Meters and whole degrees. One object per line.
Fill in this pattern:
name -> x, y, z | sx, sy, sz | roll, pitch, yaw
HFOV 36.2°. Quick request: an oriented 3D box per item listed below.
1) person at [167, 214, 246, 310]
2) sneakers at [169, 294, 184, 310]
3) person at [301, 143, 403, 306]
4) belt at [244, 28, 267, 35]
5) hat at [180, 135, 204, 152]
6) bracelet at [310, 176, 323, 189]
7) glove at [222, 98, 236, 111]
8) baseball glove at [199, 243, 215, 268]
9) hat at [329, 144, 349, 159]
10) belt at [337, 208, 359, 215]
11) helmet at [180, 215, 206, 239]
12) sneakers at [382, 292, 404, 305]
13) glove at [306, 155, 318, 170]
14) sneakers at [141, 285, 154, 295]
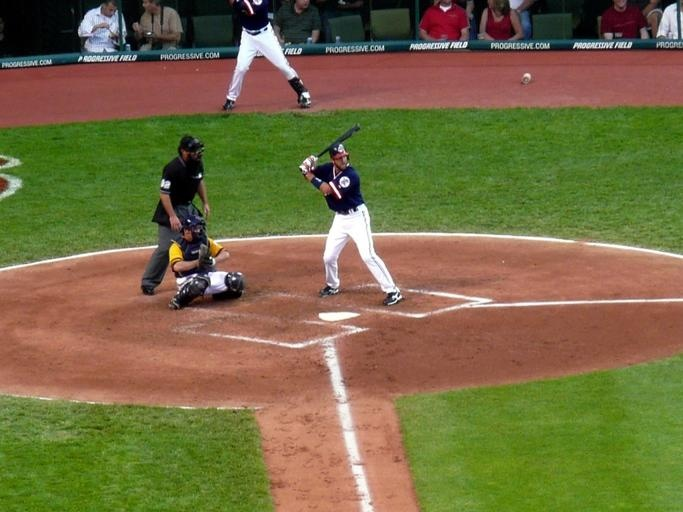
person -> -2.154, 0.058, 15.719 | 1.452, 1.300, 0.911 | -9, 6, -43
sneakers -> -2.411, 0.666, 15.494 | 0.188, 0.090, 0.243 | -37, 10, -19
person -> 0.134, -0.489, 15.505 | 1.424, 2.339, 0.487 | 5, 17, 23
belt -> -1.733, -4.612, 21.502 | 0.442, 0.153, 0.141 | -3, 16, -5
hat -> -2.232, -1.658, 15.713 | 0.298, 0.248, 0.224 | 0, 40, 8
bracelet -> -0.324, -1.060, 15.391 | 0.181, 0.044, 0.185 | -1, 47, -53
glove -> -2.501, -3.368, 23.488 | 0.172, 0.214, 0.473 | 13, 5, -5
baseball glove -> -2.019, -0.009, 15.740 | 0.182, 0.410, 0.447 | -2, 16, 1
hat -> -0.030, -1.550, 15.396 | 0.265, 0.217, 0.346 | -2, 15, 0
belt -> 0.115, -0.657, 15.488 | 0.272, 0.110, 0.060 | 0, 16, 8
helmet -> -2.173, -0.472, 15.734 | 0.364, 0.339, 0.276 | -11, 24, 6
sneakers -> 0.779, 0.632, 15.479 | 0.122, 0.148, 0.333 | 4, 10, 37
glove -> -0.422, -1.366, 15.505 | 0.132, 0.209, 0.273 | 10, 20, 38
sneakers -> -2.968, 0.538, 16.137 | 0.092, 0.095, 0.226 | -18, 24, -40
